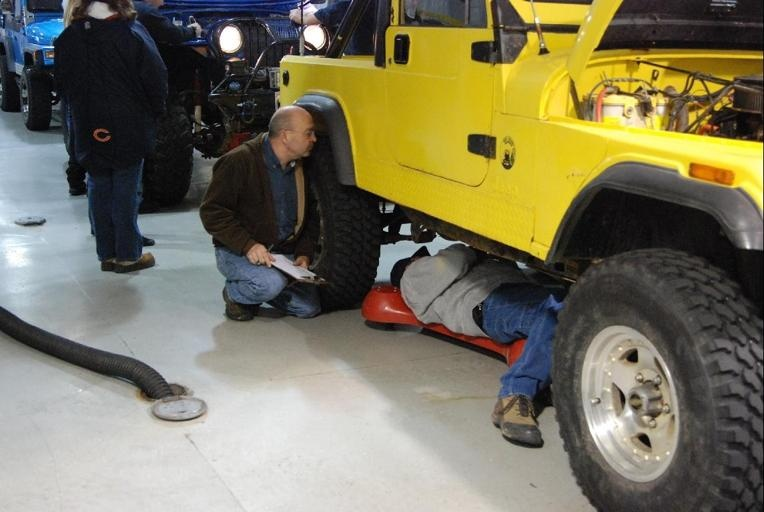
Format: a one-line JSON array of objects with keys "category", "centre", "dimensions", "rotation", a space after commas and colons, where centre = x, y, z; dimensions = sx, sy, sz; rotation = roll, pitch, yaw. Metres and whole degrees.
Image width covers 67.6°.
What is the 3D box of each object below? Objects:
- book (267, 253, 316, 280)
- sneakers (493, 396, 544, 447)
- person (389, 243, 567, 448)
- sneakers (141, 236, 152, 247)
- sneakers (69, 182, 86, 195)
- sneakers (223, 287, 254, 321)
[{"category": "book", "centre": [-0.576, 0.090, 3.685], "dimensions": [0.164, 0.039, 0.290], "rotation": [-9, 29, -34]}, {"category": "sneakers", "centre": [0.687, 0.837, 2.888], "dimensions": [0.148, 0.120, 0.302], "rotation": [-1, 6, -14]}, {"category": "person", "centre": [0.631, 0.455, 3.412], "dimensions": [0.766, 0.358, 1.060], "rotation": [-22, 25, -25]}, {"category": "sneakers", "centre": [-2.164, -0.128, 5.258], "dimensions": [0.087, 0.064, 0.138], "rotation": [-6, 11, -33]}, {"category": "sneakers", "centre": [-3.388, -0.746, 6.371], "dimensions": [0.164, 0.147, 0.132], "rotation": [0, 5, 35]}, {"category": "sneakers", "centre": [-1.014, 0.350, 4.024], "dimensions": [0.141, 0.115, 0.273], "rotation": [-4, 14, -28]}]
